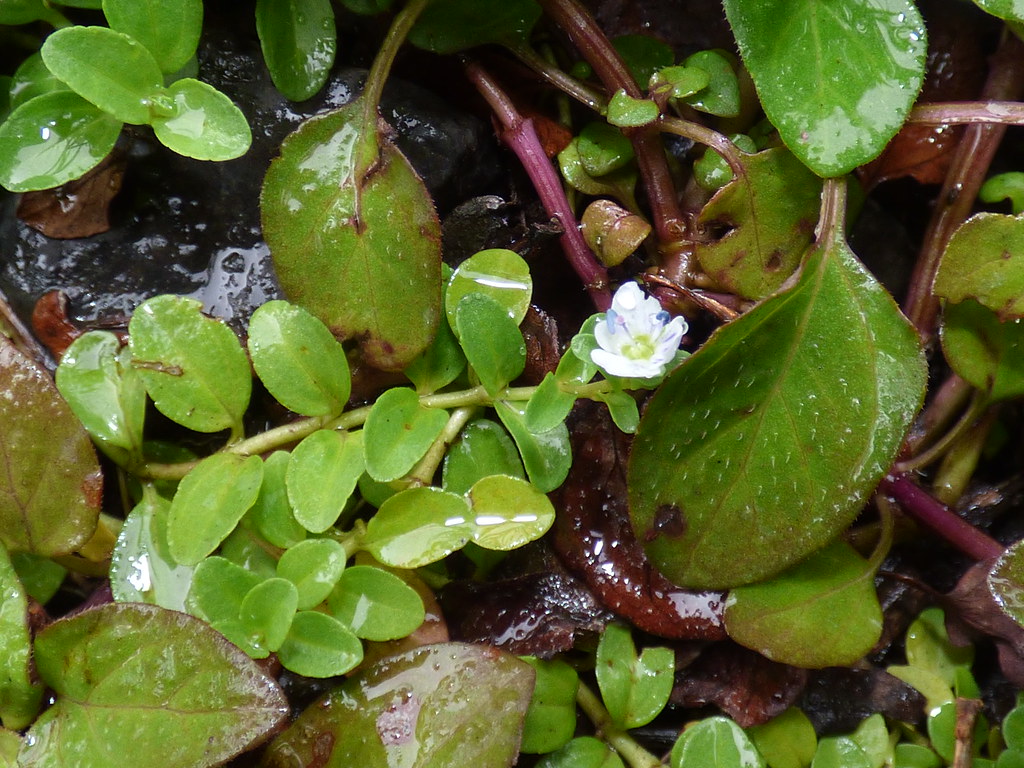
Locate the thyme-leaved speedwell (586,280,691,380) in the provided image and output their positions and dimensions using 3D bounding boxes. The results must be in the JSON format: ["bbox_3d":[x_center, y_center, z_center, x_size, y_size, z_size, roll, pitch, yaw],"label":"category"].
[{"bbox_3d":[0.171,-0.068,1.425,0.107,0.058,0.130,31,52,12],"label":"thyme-leaved speedwell"}]
